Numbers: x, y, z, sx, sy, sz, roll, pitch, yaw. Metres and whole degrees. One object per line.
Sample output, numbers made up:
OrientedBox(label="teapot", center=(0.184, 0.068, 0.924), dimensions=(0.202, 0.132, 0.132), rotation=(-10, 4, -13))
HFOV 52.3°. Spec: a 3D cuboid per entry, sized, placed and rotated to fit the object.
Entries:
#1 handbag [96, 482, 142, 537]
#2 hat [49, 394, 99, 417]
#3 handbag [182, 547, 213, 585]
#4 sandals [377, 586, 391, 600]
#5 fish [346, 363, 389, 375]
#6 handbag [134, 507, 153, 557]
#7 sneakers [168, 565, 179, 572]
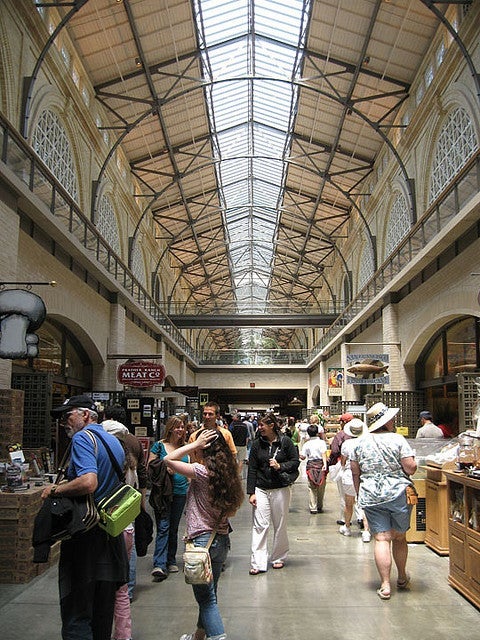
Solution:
OrientedBox(label="handbag", center=(-0.621, 0.978, 2.527), dimensions=(0.114, 0.197, 0.208), rotation=(27, 36, 24))
OrientedBox(label="hat", center=(-0.879, 0.464, 2.610), dimensions=(0.223, 0.125, 0.143), rotation=(6, -21, -13))
OrientedBox(label="handbag", center=(-0.259, 1.420, 2.850), dimensions=(0.157, 0.219, 0.126), rotation=(2, 9, 11))
OrientedBox(label="sandals", center=(1.343, 2.542, 4.562), dimensions=(0.071, 0.064, 0.161), rotation=(1, -1, 6))
OrientedBox(label="fish", center=(4.319, 1.656, 16.458), dimensions=(1.006, 0.415, 0.300), rotation=(5, -30, -11))
OrientedBox(label="handbag", center=(-0.852, 1.850, 4.256), dimensions=(0.172, 0.470, 0.134), rotation=(4, 13, 23))
OrientedBox(label="sneakers", center=(-0.757, 2.843, 5.572), dimensions=(0.061, 0.057, 0.134), rotation=(-1, -18, -5))
